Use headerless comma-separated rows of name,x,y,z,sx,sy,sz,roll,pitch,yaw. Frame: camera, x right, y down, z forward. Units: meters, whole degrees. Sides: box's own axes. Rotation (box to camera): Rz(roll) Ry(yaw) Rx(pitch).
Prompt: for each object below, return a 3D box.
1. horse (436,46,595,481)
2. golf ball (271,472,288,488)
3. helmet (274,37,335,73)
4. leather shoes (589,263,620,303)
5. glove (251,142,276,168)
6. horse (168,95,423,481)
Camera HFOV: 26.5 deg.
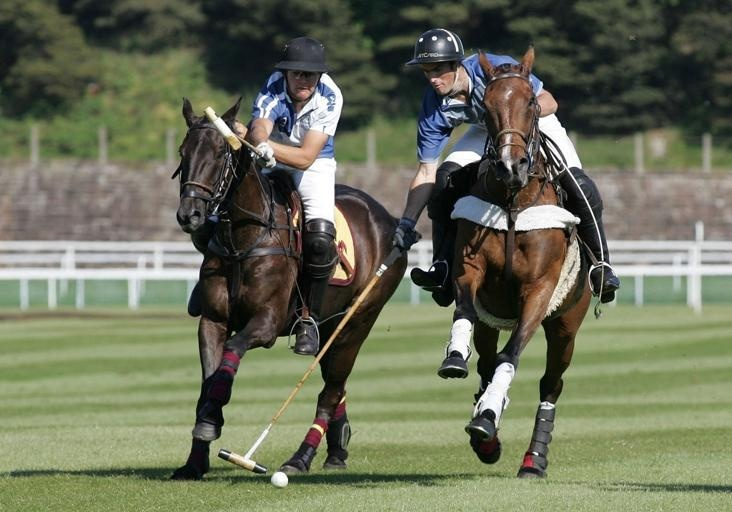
horse,1.692,0.150,18.082,1.151,5.075,2.116,5,9,32
golf ball,-0.967,2.581,17.643,0.185,0.170,0.178,9,17,-3
helmet,-0.741,-2.341,18.211,0.623,0.419,0.345,0,7,-3
leather shoes,2.842,0.336,18.547,0.247,0.286,0.612,-8,-17,3
glove,-1.148,-1.136,17.805,0.294,0.215,0.110,39,63,23
horse,-1.055,0.425,18.408,0.889,4.525,2.778,8,10,43
